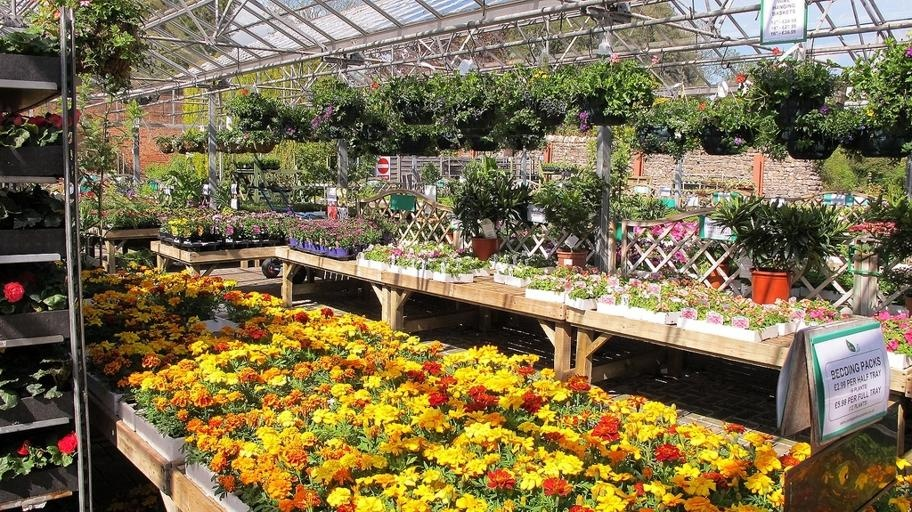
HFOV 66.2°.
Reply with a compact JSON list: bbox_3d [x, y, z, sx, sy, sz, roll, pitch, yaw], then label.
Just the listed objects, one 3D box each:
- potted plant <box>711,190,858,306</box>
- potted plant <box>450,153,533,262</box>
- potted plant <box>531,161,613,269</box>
[{"bbox_3d":[3.745,-0.105,8.073,1.324,1.087,1.274,0,3,-17],"label":"potted plant"},{"bbox_3d":[0.580,-0.744,9.983,1.172,1.489,1.481,6,11,34],"label":"potted plant"},{"bbox_3d":[1.550,-0.487,9.081,0.913,1.143,0.695,1,11,25],"label":"potted plant"}]
